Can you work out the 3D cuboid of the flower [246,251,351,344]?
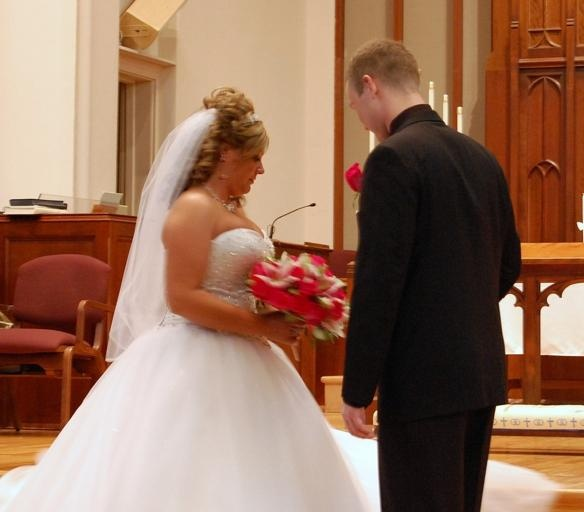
[{"bbox_3d":[0.000,0.158,2.205,0.309,0.319,0.306,-5,8,-22],"label":"flower"}]
